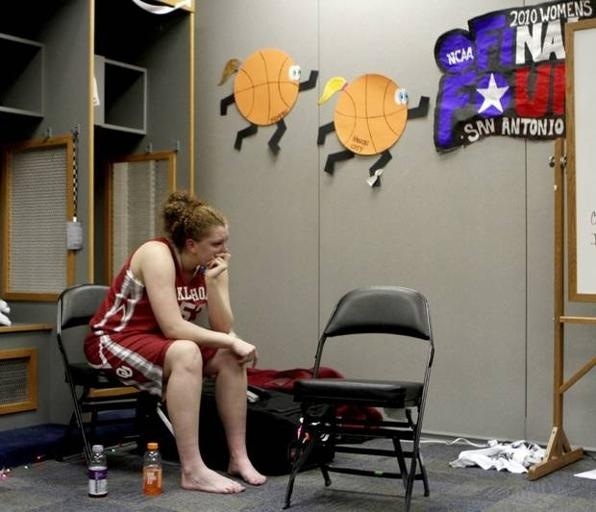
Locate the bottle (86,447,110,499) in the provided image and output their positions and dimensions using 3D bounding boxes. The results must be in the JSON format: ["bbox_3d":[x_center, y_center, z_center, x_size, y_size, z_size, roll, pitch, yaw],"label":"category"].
[{"bbox_3d":[-0.861,0.892,2.468,0.082,0.241,0.215,2,1,-20],"label":"bottle"}]

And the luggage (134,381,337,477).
[{"bbox_3d":[-0.371,0.854,2.888,0.766,0.312,0.474,2,-1,27],"label":"luggage"}]

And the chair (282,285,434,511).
[{"bbox_3d":[0.297,0.598,2.512,0.581,0.828,0.880,2,1,12],"label":"chair"}]

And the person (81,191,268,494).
[{"bbox_3d":[-0.533,0.345,2.626,0.826,0.955,0.441,3,1,15],"label":"person"}]
